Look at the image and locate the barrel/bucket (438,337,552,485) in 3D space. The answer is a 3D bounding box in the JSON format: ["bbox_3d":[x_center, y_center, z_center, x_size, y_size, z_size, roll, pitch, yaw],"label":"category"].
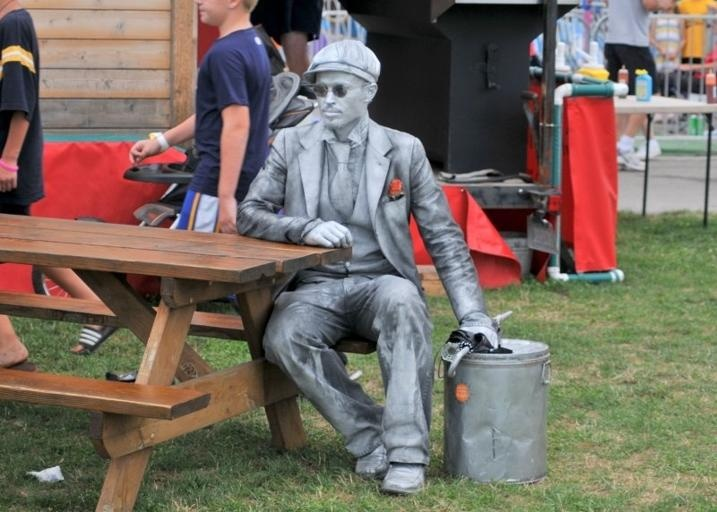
[{"bbox_3d":[0.701,0.819,6.081,0.674,0.685,0.652,0,2,0],"label":"barrel/bucket"}]

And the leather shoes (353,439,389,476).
[{"bbox_3d":[0.065,1.069,5.875,0.171,0.170,0.079,0,8,2],"label":"leather shoes"}]

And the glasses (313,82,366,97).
[{"bbox_3d":[-0.107,-0.869,5.977,0.260,0.071,0.086,-1,8,-3],"label":"glasses"}]

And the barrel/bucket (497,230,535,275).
[{"bbox_3d":[1.285,-0.038,9.236,0.283,0.305,0.457,1,6,8],"label":"barrel/bucket"}]

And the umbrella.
[{"bbox_3d":[0.665,0.517,5.867,0.367,0.359,0.550,12,20,26],"label":"umbrella"}]
